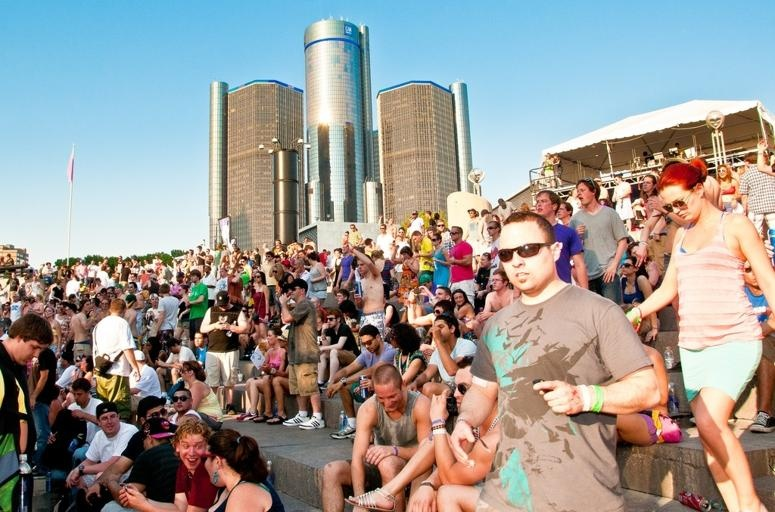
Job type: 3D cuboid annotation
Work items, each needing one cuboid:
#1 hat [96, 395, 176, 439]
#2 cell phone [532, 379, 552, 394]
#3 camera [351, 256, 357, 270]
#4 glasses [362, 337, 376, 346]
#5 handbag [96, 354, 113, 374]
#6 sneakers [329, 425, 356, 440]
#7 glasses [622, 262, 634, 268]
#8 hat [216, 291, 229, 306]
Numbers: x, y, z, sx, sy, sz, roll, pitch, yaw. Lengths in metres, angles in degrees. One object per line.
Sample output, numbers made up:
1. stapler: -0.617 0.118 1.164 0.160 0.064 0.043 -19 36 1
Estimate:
1. hat: -3.380 2.165 8.964 0.845 0.445 0.309 -2 5 -1
2. cell phone: 1.119 0.962 4.908 0.119 0.117 0.167 -7 -7 11
3. camera: -0.792 0.174 16.085 0.111 0.321 0.234 5 8 3
4. glasses: -0.280 1.281 9.945 0.143 0.151 0.050 -10 -37 21
5. handbag: -4.607 1.772 10.863 0.283 0.230 0.235 4 -10 -26
6. sneakers: -0.619 2.504 9.442 0.413 0.188 0.148 0 -9 1
7. glasses: 3.690 0.139 10.334 0.093 0.030 0.091 30 -18 -14
8. hat: -3.115 0.797 12.648 0.200 0.170 0.290 0 21 -5
